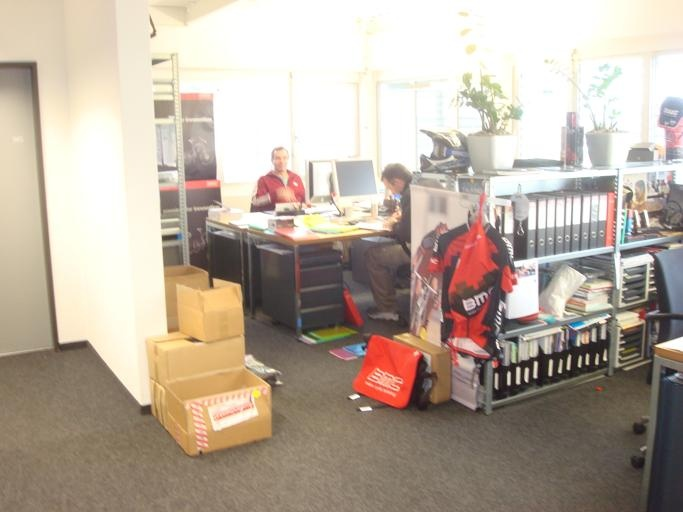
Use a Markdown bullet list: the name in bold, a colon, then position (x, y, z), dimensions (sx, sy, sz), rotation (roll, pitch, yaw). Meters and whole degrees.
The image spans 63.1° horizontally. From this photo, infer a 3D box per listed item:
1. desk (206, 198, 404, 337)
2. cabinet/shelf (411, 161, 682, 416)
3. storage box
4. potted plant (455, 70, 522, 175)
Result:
- **desk**: position (-0.526, -0.158, 5.793), dimensions (1.474, 0.886, 1.446), rotation (-7, 13, -37)
- **cabinet/shelf**: position (1.391, 0.260, 3.982), dimensions (1.752, 1.252, 0.620), rotation (-2, 3, -37)
- **storage box**: position (-0.907, 0.675, 4.017), dimensions (0.702, 1.229, 1.168), rotation (-6, 11, -31)
- **potted plant**: position (1.235, -1.112, 4.525), dimensions (0.427, 0.699, 1.670), rotation (3, 16, 17)
